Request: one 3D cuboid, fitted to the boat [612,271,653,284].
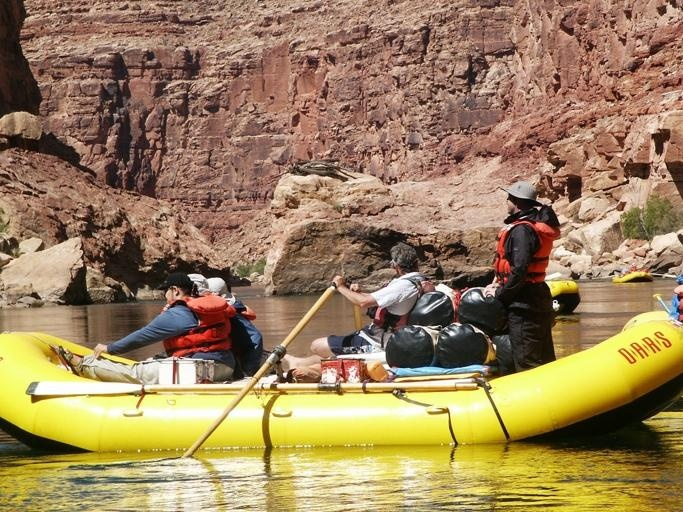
[{"bbox_3d":[14.936,1.043,70.138,2.027,0.646,2.005,-3,-1,10],"label":"boat"}]
